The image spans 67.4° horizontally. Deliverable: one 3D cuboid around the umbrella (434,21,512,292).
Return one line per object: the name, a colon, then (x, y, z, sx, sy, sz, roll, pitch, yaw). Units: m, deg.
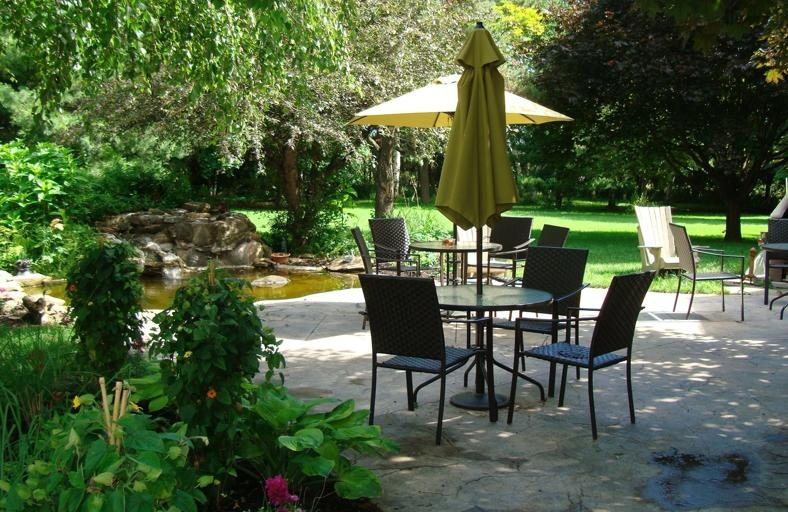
umbrella: (0.681, -0.813, 4.984, 0.692, 2.268, 0.349, -1, 2, 4)
